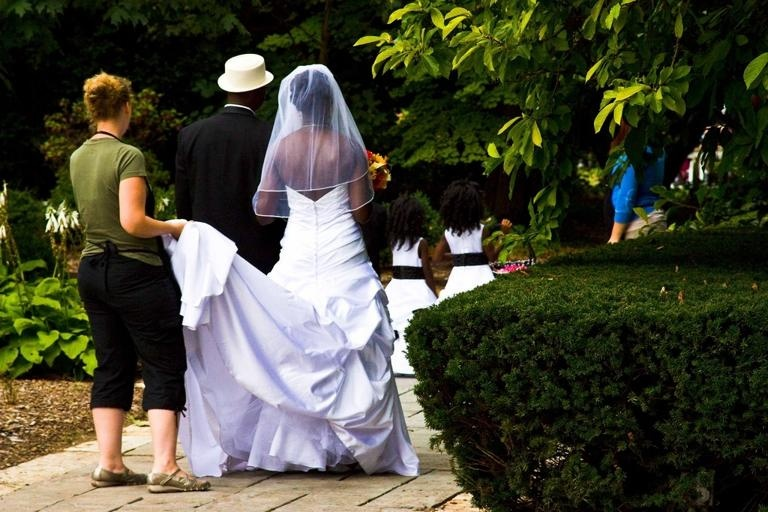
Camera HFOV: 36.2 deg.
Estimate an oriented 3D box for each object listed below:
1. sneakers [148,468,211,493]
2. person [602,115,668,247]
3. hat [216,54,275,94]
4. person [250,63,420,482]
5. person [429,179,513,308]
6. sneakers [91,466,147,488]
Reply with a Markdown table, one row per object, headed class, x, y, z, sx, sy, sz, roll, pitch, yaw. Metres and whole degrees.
| class | x | y | z | sx | sy | sz | roll | pitch | yaw |
| --- | --- | --- | --- | --- | --- | --- | --- | --- | --- |
| sneakers | -1.596 | 1.739 | 9.085 | 0.454 | 0.184 | 0.179 | -1 | -2 | -12 |
| person | 2.347 | -0.678 | 10.922 | 0.542 | 1.117 | 2.780 | -1 | 0 | 12 |
| hat | -1.182 | -1.591 | 9.932 | 0.510 | 0.182 | 0.434 | 3 | -8 | -33 |
| person | -0.483 | 0.137 | 9.931 | 1.401 | 3.344 | 1.063 | -2 | 8 | 0 |
| person | 0.894 | -0.182 | 13.056 | 0.715 | 1.350 | 1.182 | -1 | 0 | 5 |
| sneakers | -2.079 | 1.733 | 9.216 | 0.422 | 0.178 | 0.169 | 0 | 1 | -16 |
